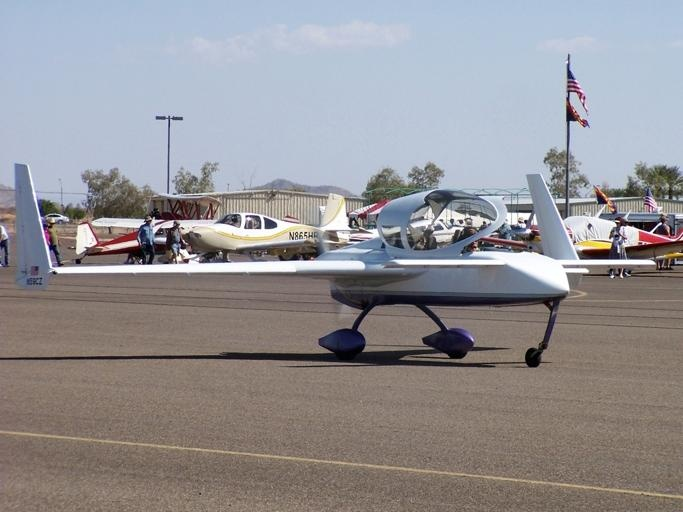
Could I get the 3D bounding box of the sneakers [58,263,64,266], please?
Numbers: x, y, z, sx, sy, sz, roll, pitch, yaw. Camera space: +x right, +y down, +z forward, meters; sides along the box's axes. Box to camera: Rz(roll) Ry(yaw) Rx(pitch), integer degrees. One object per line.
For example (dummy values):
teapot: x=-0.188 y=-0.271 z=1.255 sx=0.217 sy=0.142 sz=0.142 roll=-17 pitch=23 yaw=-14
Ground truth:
sneakers: x=-8.365 y=0.235 z=22.073 sx=0.126 sy=0.052 sz=0.135 roll=5 pitch=23 yaw=-5

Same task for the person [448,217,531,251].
person: x=2.011 y=-0.232 z=9.954 sx=0.658 sy=0.266 sz=0.731 roll=5 pitch=1 yaw=-45
